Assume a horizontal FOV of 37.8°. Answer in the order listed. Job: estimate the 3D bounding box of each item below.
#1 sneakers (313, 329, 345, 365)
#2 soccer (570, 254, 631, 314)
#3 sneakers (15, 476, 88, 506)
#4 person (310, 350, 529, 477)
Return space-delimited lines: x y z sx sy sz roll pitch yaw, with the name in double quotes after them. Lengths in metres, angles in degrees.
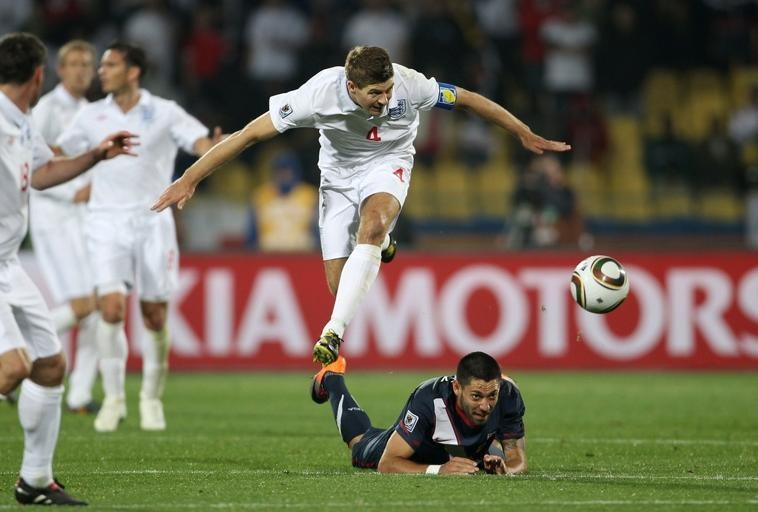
-0.432 0.791 9.701 0.204 0.299 0.594 3 -13 3 "sneakers"
1.928 0.250 9.752 0.464 0.493 0.477 0 -15 0 "soccer"
-2.511 1.802 8.548 0.593 0.272 0.222 7 -3 -4 "sneakers"
0.437 1.416 9.470 0.844 0.759 1.750 5 -12 -32 "person"
